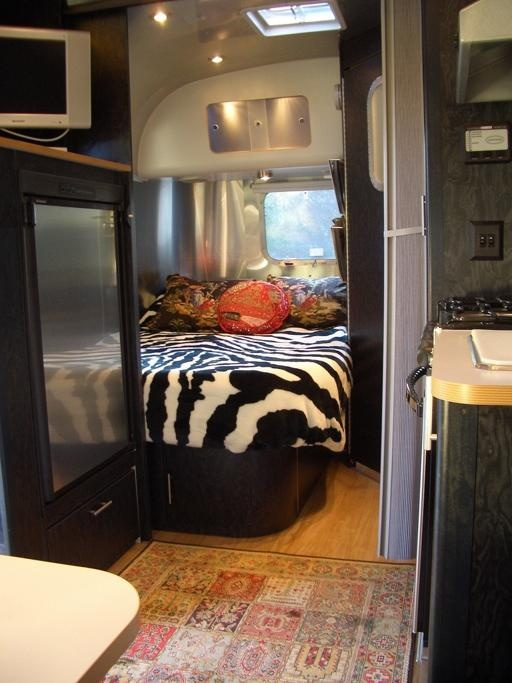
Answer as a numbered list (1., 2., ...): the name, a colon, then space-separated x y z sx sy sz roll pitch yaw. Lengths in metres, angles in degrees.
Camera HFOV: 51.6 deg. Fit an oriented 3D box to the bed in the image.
1. bed: -0.184 0.198 3.100 1.443 1.210 1.795 -1 6 9
